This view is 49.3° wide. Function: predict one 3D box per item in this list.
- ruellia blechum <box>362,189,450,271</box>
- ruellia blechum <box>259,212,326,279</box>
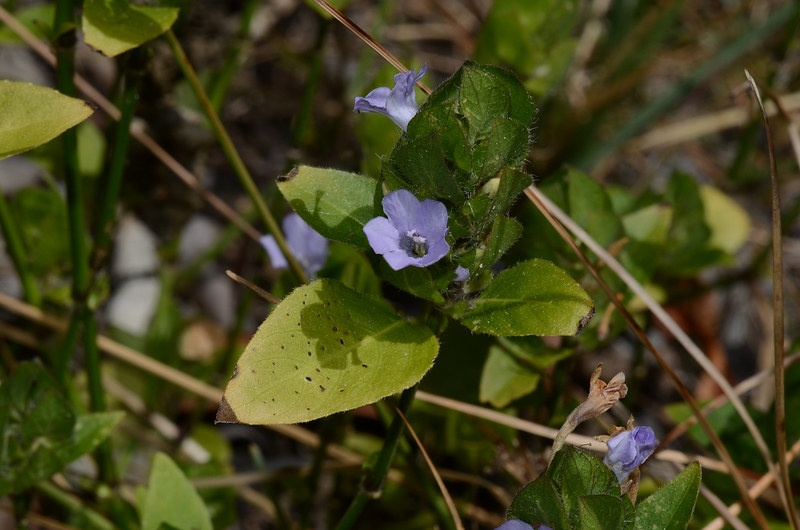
[{"bbox_3d":[0.045,-0.092,2.191,0.193,0.233,0.118,2,69,26],"label":"ruellia blechum"},{"bbox_3d":[-0.338,-0.089,2.704,0.167,0.083,0.238,-14,86,26],"label":"ruellia blechum"}]
